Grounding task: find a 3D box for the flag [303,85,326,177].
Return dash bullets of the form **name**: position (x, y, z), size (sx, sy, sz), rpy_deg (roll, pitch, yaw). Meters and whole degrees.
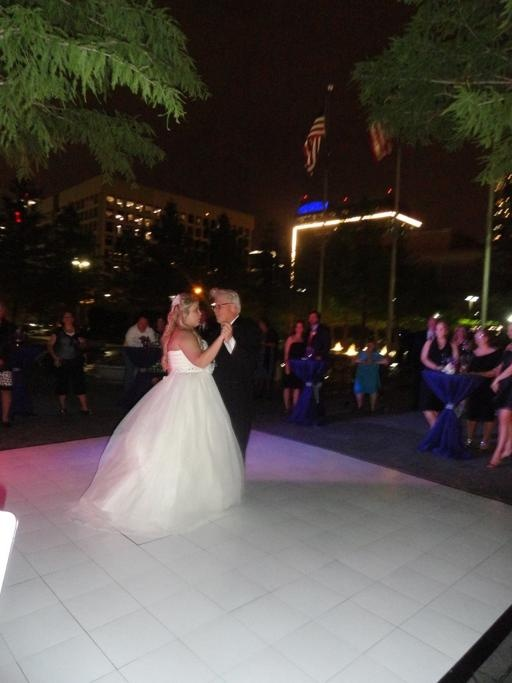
- **flag**: position (2.048, -7.029, 18.224), size (0.712, 2.799, 2.052), rpy_deg (2, 3, 5)
